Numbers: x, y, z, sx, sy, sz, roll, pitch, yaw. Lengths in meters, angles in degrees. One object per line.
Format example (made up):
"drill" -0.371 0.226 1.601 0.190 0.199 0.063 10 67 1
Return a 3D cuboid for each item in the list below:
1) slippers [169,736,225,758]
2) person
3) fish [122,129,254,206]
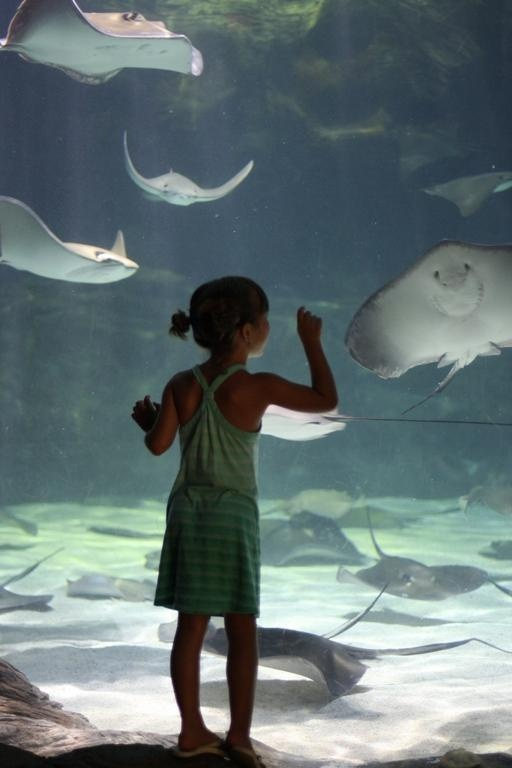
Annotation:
"slippers" -0.300 1.920 5.310 0.293 0.097 0.097 -5 1 -11
"person" -0.154 0.728 5.397 1.007 2.599 0.773 -1 9 -7
"fish" -0.659 -2.083 9.620 1.225 0.686 0.737 0 8 -6
